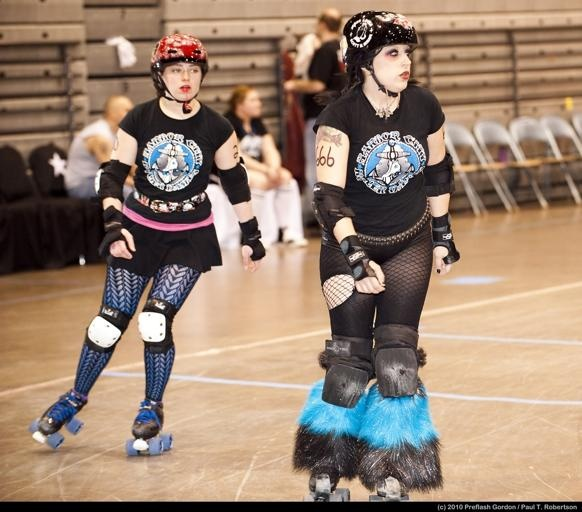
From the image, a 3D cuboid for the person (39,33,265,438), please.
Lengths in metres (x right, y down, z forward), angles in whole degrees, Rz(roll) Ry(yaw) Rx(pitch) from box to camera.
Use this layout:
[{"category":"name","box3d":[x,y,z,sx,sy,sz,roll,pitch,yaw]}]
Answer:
[{"category":"person","box3d":[-0.553,-0.054,2.699,0.886,1.541,0.448,-4,9,-3]}]

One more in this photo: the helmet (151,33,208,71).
[{"category":"helmet","box3d":[-0.396,-0.753,2.567,0.140,0.130,0.164,-1,-6,-25]}]

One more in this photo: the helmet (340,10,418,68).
[{"category":"helmet","box3d":[0.247,-0.663,2.102,0.207,0.162,0.164,13,17,30]}]

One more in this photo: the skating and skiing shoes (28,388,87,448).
[{"category":"skating and skiing shoes","box3d":[-0.891,0.633,2.754,0.139,0.258,0.094,39,-7,3]}]

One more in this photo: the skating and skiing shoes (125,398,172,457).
[{"category":"skating and skiing shoes","box3d":[-0.548,0.668,2.723,0.143,0.189,0.283,1,2,0]}]

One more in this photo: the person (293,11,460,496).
[{"category":"person","box3d":[0.262,-0.047,2.228,0.506,1.467,0.690,-1,10,13]}]
